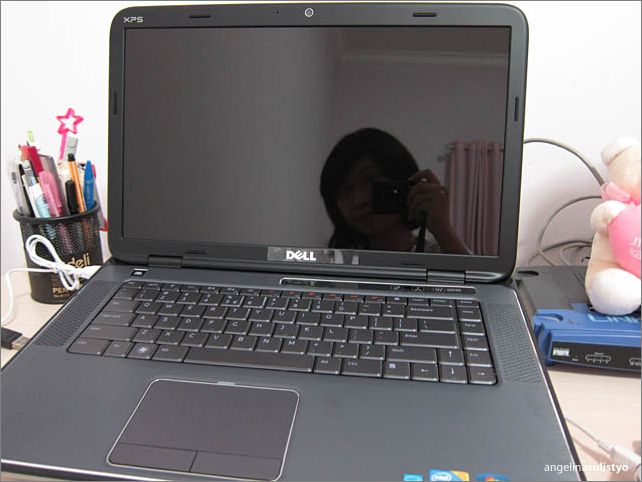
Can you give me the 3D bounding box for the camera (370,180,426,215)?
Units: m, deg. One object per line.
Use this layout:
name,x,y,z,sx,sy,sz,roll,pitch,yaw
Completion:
camera,0.111,-0.071,0.727,0.060,0.016,0.081,-2,31,7
